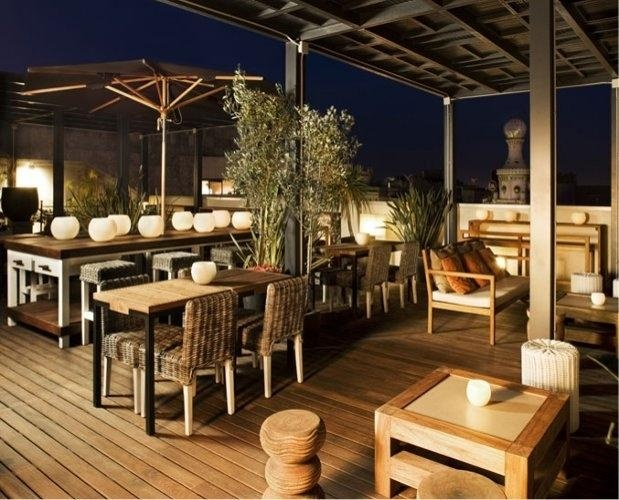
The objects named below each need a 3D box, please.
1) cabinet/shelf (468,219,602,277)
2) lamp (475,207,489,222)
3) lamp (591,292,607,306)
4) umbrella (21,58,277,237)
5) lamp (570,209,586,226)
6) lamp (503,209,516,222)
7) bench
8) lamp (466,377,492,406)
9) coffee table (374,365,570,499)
[{"bbox_3d":[3.781,0.106,8.324,1.944,0.968,0.482,4,12,34],"label":"cabinet/shelf"},{"bbox_3d":[3.231,-0.679,8.923,0.254,0.178,0.226,3,-2,-44],"label":"lamp"},{"bbox_3d":[2.972,0.505,4.920,0.151,0.123,0.140,0,-1,11],"label":"lamp"},{"bbox_3d":[-2.012,-1.473,6.539,3.480,2.013,3.008,-1,9,-19],"label":"umbrella"},{"bbox_3d":[4.477,-0.521,7.915,0.248,0.174,0.251,0,-2,43],"label":"lamp"},{"bbox_3d":[3.662,-0.613,8.654,0.209,0.133,0.195,-1,-2,14],"label":"lamp"},{"bbox_3d":[2.243,0.397,6.138,0.939,0.885,2.001,7,10,37],"label":"bench"},{"bbox_3d":[1.009,0.843,2.864,0.158,0.135,0.145,2,-3,12],"label":"lamp"},{"bbox_3d":[0.989,1.162,2.896,0.950,0.537,0.896,7,12,33],"label":"coffee table"}]
